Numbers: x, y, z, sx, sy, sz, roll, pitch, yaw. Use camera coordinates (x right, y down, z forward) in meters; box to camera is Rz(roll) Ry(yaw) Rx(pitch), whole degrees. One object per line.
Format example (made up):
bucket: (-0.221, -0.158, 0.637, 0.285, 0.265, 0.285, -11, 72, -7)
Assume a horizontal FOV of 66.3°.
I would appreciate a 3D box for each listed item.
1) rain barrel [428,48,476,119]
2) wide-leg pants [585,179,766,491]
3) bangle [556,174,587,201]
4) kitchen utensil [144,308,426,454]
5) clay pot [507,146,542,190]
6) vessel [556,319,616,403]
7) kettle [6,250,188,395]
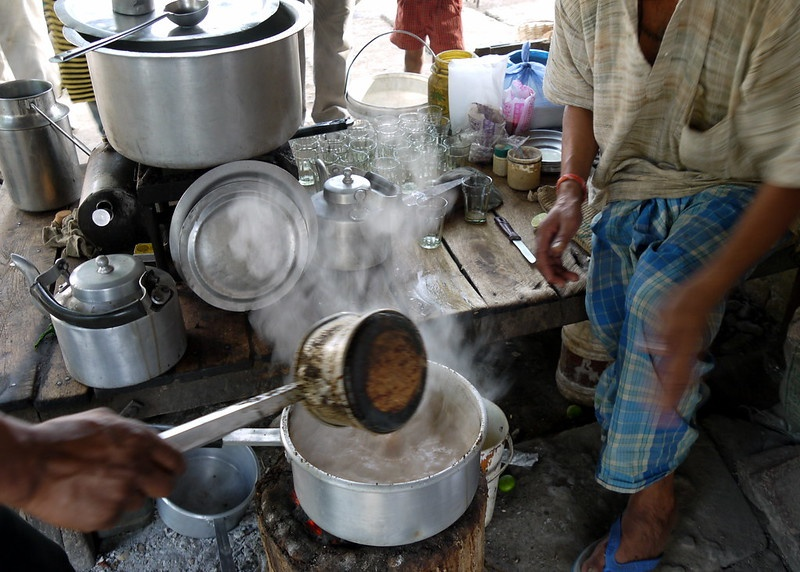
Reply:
rain barrel: (0.337, -1.491, 4.449, 0.256, 0.338, 0.327, -1, 45, -7)
wide-leg pants: (1.204, 0.278, 3.105, 0.505, 1.606, 0.640, -12, 24, -36)
bangle: (0.898, -0.508, 3.194, 0.102, 0.152, 0.082, 0, 7, 9)
kitchen utensil: (-0.380, 0.373, 2.229, 0.952, 0.450, 0.358, -14, -7, -26)
clay pot: (0.784, -0.737, 3.856, 0.202, 0.223, 0.221, -2, 31, 1)
vessel: (1.083, 0.421, 3.520, 0.322, 0.521, 0.343, -7, 51, 4)
kettle: (-1.294, 0.106, 2.869, 0.737, 0.555, 0.527, 1, 40, -3)
